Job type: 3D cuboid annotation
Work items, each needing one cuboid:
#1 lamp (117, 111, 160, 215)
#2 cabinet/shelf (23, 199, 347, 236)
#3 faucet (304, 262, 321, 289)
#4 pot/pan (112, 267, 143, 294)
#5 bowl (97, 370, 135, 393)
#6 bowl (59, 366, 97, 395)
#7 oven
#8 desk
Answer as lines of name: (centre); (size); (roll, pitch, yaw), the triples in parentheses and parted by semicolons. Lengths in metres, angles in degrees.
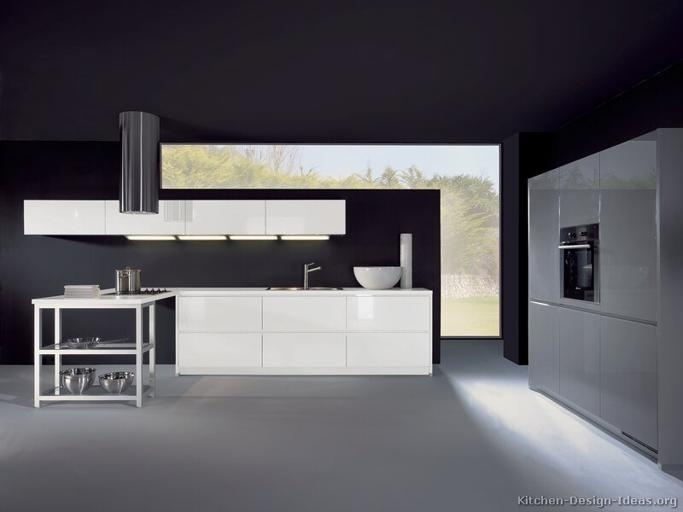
lamp: (-2.363, -1.090, 6.717); (0.474, 1.159, 0.215); (-4, 12, -19)
cabinet/shelf: (-1.901, -0.483, 7.084); (3.853, 0.412, 0.249); (0, 12, 0)
faucet: (-0.436, 0.256, 7.497); (0.218, 0.316, 0.360); (5, 13, 21)
pot/pan: (-2.496, 0.289, 6.764); (0.280, 0.422, 0.294); (1, -4, -4)
bowl: (-2.424, 1.331, 6.126); (0.262, 0.124, 0.262); (-1, 1, 0)
bowl: (-2.789, 1.311, 6.166); (0.257, 0.235, 0.331); (0, -7, -5)
oven: (2.408, 0.084, 5.545); (0.451, 0.728, 0.495); (5, -1, -14)
desk: (-2.644, 1.009, 6.707); (0.919, 1.119, 1.755); (-1, -6, -2)
